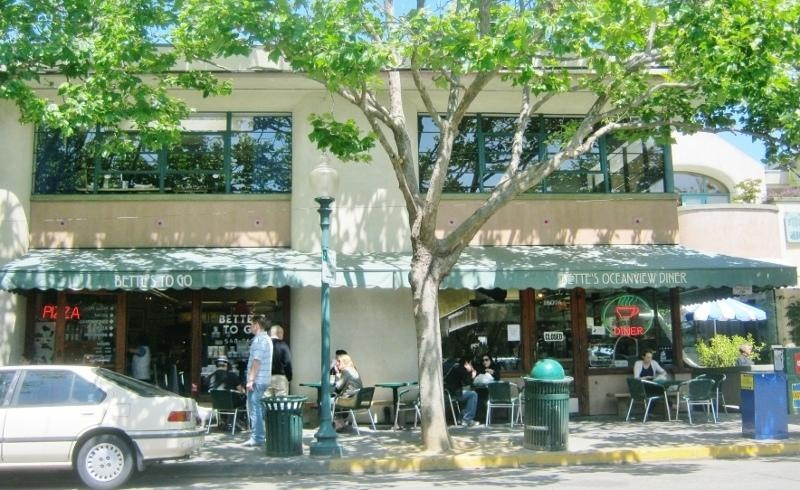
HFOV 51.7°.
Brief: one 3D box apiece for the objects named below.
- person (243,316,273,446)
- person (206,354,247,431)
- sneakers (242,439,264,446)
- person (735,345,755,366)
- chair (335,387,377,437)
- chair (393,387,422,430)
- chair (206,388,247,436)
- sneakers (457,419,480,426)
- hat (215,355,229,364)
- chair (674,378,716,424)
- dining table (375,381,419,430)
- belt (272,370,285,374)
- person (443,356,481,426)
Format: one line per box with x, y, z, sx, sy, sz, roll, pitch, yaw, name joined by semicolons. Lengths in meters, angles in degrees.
-3.224;3.052;18.665;0.539;2.901;0.829;1;-8;-11;person
-4.369;3.728;20.450;1.079;1.812;1.198;-2;-6;14;person
-3.351;4.475;18.699;0.467;0.174;0.175;6;-11;0;sneakers
9.222;2.964;22.239;0.413;0.640;0.759;0;-1;-5;person
-1.146;3.947;20.084;0.897;1.056;0.848;4;-4;-42;chair
0.168;4.124;21.237;0.973;0.991;0.923;1;-3;-34;chair
-4.220;4.052;20.123;0.812;1.049;1.269;1;-8;-10;chair
1.694;4.486;20.897;0.533;0.211;0.170;1;-8;-10;sneakers
-4.625;2.984;21.420;0.287;0.305;0.359;-1;-15;5;hat
7.360;3.877;20.603;1.015;1.030;1.045;-8;-9;39;chair
0.042;4.155;21.247;1.354;1.157;1.196;1;-4;-11;dining table
-2.899;3.020;19.650;0.324;0.095;0.048;3;-8;-21;belt
1.567;3.793;21.124;0.739;1.571;1.459;-2;-8;11;person
